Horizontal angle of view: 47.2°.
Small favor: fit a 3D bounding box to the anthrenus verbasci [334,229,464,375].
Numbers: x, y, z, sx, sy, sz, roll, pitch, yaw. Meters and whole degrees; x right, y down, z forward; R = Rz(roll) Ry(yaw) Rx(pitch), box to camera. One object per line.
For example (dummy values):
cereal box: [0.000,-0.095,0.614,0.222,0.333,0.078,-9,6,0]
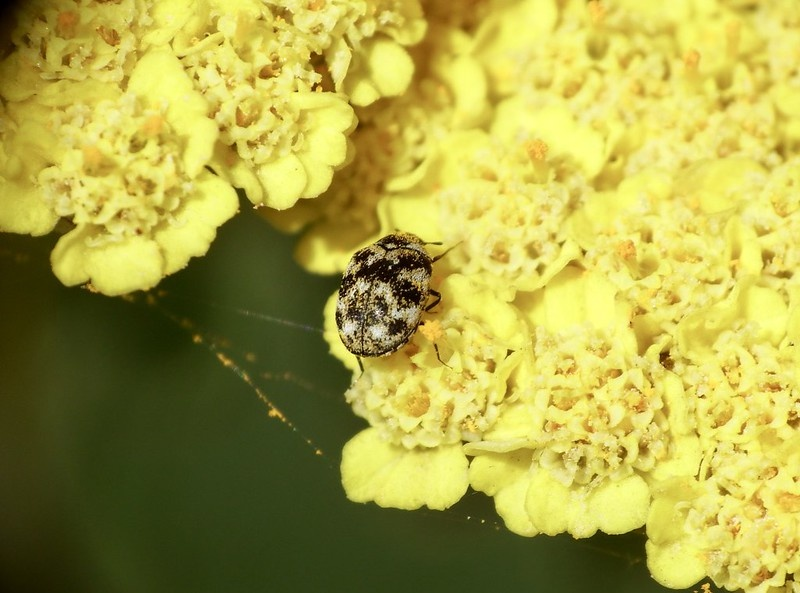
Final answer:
anthrenus verbasci: [-0.020,0.014,1.360,0.152,0.057,0.190,0,74,28]
